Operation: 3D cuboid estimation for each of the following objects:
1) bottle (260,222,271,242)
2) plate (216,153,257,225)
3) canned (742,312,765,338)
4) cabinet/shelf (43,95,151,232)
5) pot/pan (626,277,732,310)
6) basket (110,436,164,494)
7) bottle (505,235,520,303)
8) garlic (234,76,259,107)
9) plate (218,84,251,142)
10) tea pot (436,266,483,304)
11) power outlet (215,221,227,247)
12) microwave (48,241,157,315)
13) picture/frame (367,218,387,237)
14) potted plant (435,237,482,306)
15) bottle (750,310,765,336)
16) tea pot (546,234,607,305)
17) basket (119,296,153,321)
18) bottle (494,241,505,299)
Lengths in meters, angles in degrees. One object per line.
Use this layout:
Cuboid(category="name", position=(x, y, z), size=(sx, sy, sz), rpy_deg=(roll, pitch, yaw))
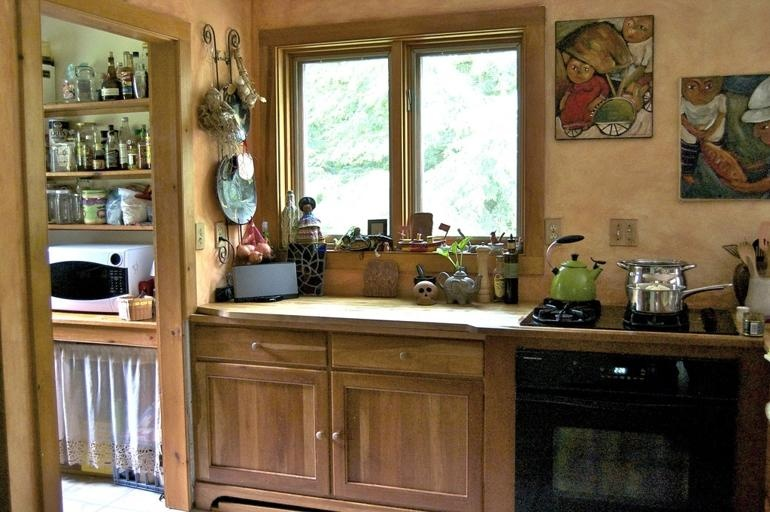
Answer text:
Cuboid(category="bottle", position=(-0.760, -0.160, 4.276), size=(0.052, 0.128, 0.099), rpy_deg=(0, 4, -11))
Cuboid(category="plate", position=(-0.907, -0.413, 4.125), size=(0.100, 0.418, 0.402), rpy_deg=(2, 5, 17))
Cuboid(category="canned", position=(1.740, 0.328, 3.157), size=(0.126, 0.127, 0.080), rpy_deg=(-4, 6, -21))
Cuboid(category="cabinet/shelf", position=(-1.793, -0.595, 4.210), size=(0.917, 0.943, 0.317), rpy_deg=(-3, 0, 6))
Cuboid(category="pot/pan", position=(1.448, 0.177, 3.351), size=(0.386, 0.122, 0.209), rpy_deg=(1, 2, 25))
Cuboid(category="basket", position=(-1.498, 1.272, 4.063), size=(0.479, 0.329, 0.116), rpy_deg=(2, 4, 21))
Cuboid(category="bottle", position=(0.744, 0.080, 3.937), size=(0.094, 0.381, 0.224), rpy_deg=(1, 4, 12))
Cuboid(category="garlic", position=(-0.848, -1.010, 4.097), size=(0.057, 0.111, 0.158), rpy_deg=(-38, 0, -4))
Cuboid(category="plate", position=(-0.892, -0.865, 4.086), size=(0.072, 0.290, 0.289), rpy_deg=(-5, -15, 24))
Cuboid(category="tea pot", position=(0.435, 0.170, 3.944), size=(0.252, 0.202, 0.249), rpy_deg=(0, 5, 0))
Cuboid(category="power outlet", position=(-0.989, -0.135, 4.021), size=(0.021, 0.186, 0.165), rpy_deg=(-2, 0, 22))
Cuboid(category="microwave", position=(-1.741, 0.122, 4.148), size=(0.646, 0.416, 0.423), rpy_deg=(0, 0, 12))
Cuboid(category="picture/frame", position=(-0.049, -0.183, 4.237), size=(0.173, 0.158, 0.091), rpy_deg=(1, 4, 7))
Cuboid(category="potted plant", position=(0.428, 0.104, 3.923), size=(0.385, 0.404, 0.260), rpy_deg=(-2, -3, 41))
Cuboid(category="bottle", position=(1.764, 0.327, 3.177), size=(0.059, 0.095, 0.109), rpy_deg=(3, 5, 28))
Cuboid(category="tea pot", position=(1.051, 0.069, 3.717), size=(0.321, 0.373, 0.393), rpy_deg=(2, 5, 14))
Cuboid(category="basket", position=(-1.464, 0.312, 3.945), size=(0.174, 0.121, 0.144), rpy_deg=(-1, 4, -14))
Cuboid(category="bottle", position=(0.678, 0.096, 3.976), size=(0.067, 0.321, 0.179), rpy_deg=(1, 4, 9))
